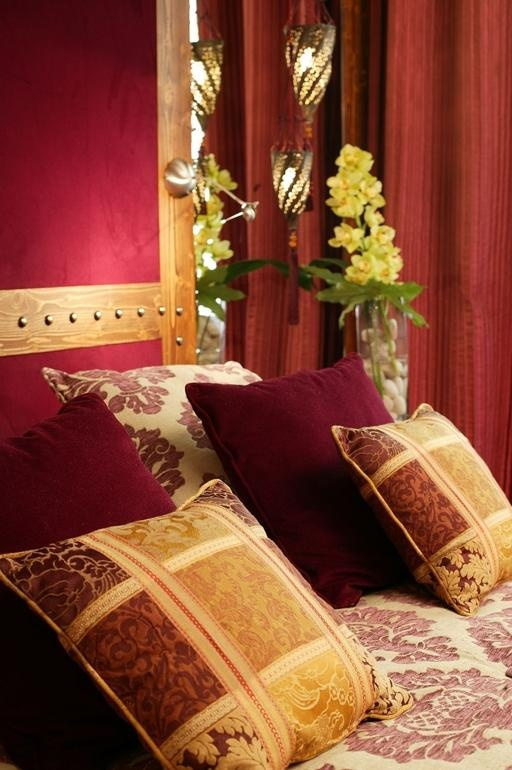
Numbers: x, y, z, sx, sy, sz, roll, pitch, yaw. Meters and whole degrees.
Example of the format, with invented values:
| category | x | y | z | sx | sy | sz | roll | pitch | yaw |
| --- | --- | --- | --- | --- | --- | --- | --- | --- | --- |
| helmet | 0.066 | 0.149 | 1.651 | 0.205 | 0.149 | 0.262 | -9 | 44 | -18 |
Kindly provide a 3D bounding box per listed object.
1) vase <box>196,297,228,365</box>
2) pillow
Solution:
| category | x | y | z | sx | sy | sz | roll | pitch | yaw |
| --- | --- | --- | --- | --- | --- | --- | --- | --- | --- |
| vase | -0.195 | -0.210 | 2.368 | 0.182 | 0.241 | 0.068 | 2 | -1 | -44 |
| pillow | 0.072 | 0.198 | 1.076 | 0.576 | 0.455 | 0.961 | -9 | 10 | -36 |
